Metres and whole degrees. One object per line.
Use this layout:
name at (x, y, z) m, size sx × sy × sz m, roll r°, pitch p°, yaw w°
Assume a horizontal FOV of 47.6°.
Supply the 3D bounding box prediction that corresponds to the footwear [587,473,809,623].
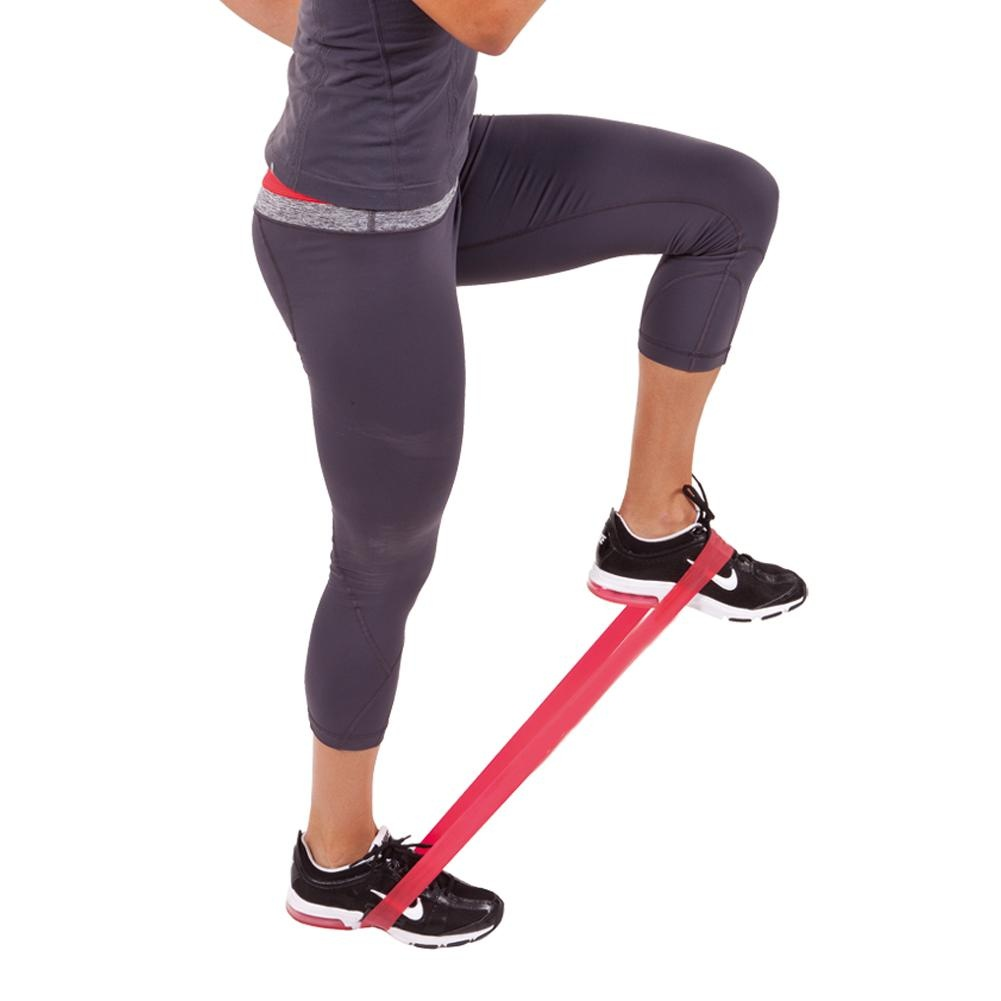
footwear at (0.449, 0.114, 2.542) m, size 0.622 × 0.259 × 0.197 m, roll 9°, pitch 14°, yaw -25°
